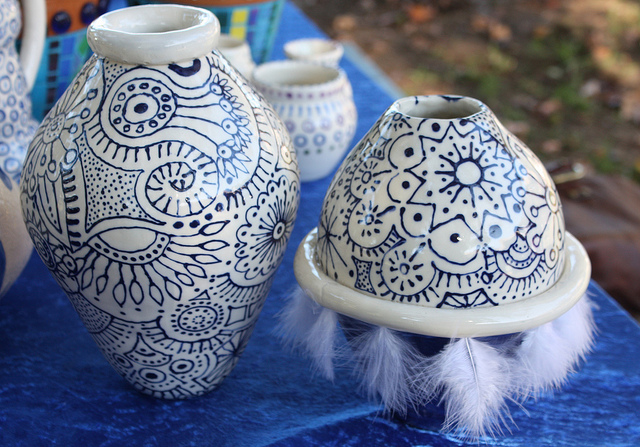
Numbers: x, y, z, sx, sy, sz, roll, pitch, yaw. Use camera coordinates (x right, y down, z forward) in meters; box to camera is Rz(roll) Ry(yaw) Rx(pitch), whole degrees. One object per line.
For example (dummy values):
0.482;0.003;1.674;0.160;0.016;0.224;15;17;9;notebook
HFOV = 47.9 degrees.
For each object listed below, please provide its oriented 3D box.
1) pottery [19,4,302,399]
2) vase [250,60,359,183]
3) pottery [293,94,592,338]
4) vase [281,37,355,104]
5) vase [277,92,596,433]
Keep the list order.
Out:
-0.139;-0.024;0.755;0.220;0.353;0.253;-20;32;-38;pottery
-0.003;-0.139;1.016;0.159;0.136;0.149;5;25;12;vase
0.116;-0.008;0.699;0.227;0.176;0.235;10;23;29;pottery
0.005;-0.251;1.107;0.119;0.104;0.126;-6;33;4;vase
0.115;0.048;0.779;0.302;0.273;0.313;12;26;31;vase
